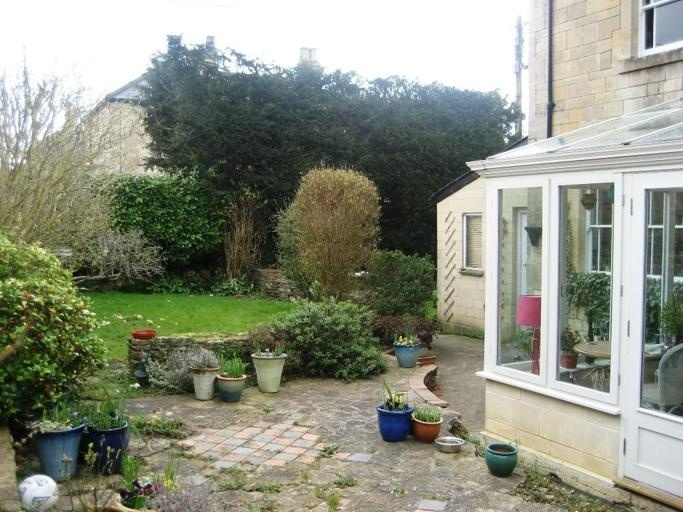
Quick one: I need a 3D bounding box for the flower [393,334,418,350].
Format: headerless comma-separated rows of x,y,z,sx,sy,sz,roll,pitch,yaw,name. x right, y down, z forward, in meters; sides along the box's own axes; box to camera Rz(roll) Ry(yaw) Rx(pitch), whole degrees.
1.227,1.640,11.356,0.299,0.150,0.301,-1,3,-23,flower

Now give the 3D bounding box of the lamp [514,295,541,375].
2.442,1.041,7.568,0.422,0.957,0.436,-1,-16,3,lamp

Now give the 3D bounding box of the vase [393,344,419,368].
1.258,1.870,11.272,0.424,0.329,0.432,1,-2,-4,vase

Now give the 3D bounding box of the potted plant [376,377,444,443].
0.844,2.028,7.933,0.847,0.772,0.596,-1,6,-11,potted plant

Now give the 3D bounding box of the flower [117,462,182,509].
-1.869,2.298,5.971,0.369,0.231,0.452,-1,3,14,flower

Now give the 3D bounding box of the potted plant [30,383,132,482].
-2.871,2.019,6.911,0.764,0.775,1.136,0,-7,22,potted plant

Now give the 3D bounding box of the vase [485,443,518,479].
1.832,2.340,6.901,0.337,0.264,0.339,0,2,-8,vase

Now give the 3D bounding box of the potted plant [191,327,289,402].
-1.652,1.692,9.906,1.335,0.887,0.896,-3,-3,38,potted plant
